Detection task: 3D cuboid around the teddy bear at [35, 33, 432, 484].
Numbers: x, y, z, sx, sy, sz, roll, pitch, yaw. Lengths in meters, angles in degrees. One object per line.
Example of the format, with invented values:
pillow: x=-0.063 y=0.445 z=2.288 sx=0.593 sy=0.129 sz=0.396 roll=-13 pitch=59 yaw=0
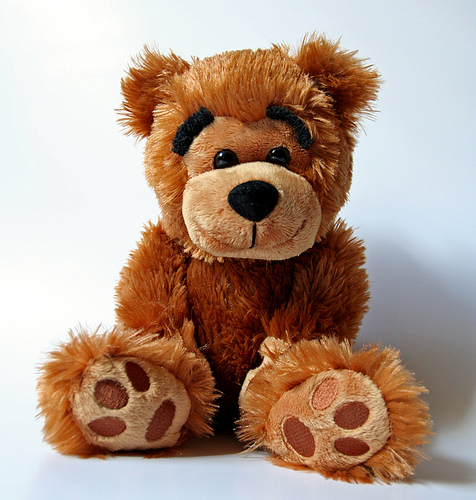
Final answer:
teddy bear: x=-0.006 y=0.015 z=1.032 sx=0.644 sy=0.743 sz=0.288 roll=-16 pitch=-20 yaw=8
